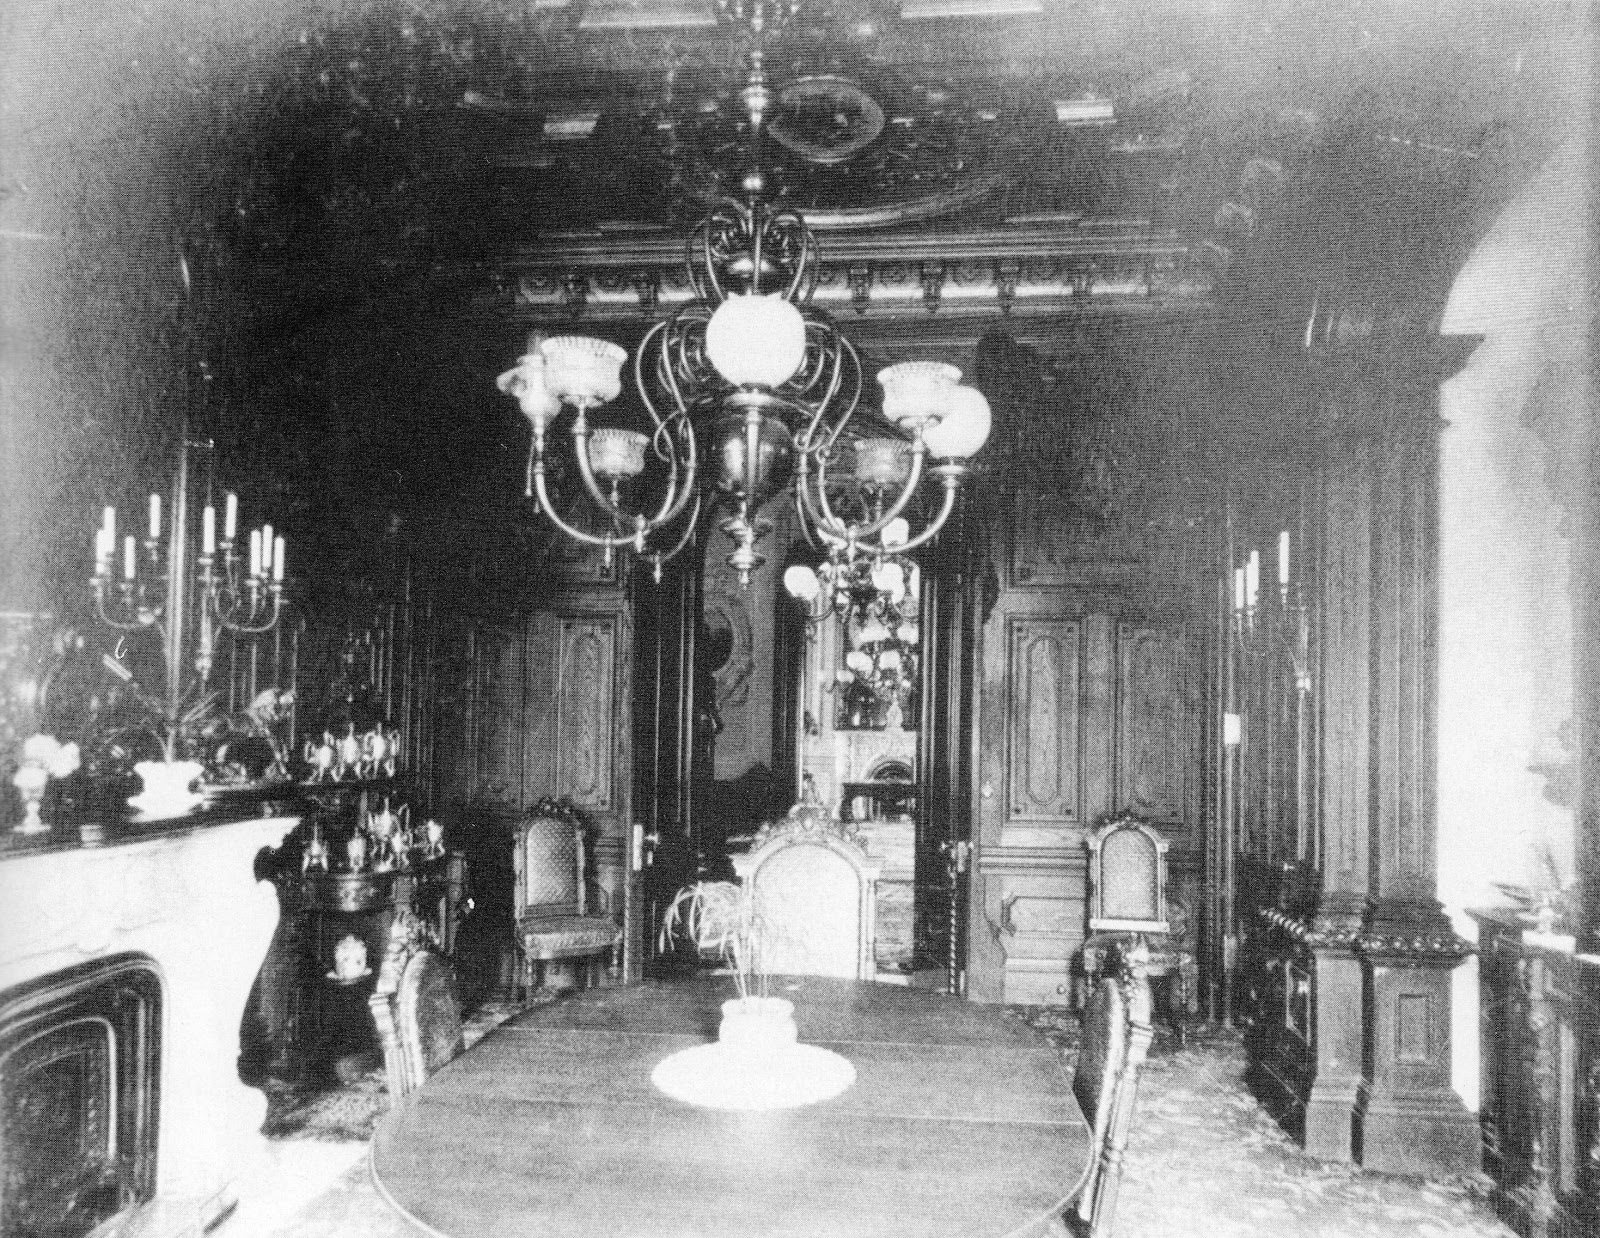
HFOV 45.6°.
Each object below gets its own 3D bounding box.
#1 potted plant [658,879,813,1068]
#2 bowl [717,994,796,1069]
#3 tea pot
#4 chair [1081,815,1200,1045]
[{"bbox_3d":[-0.206,1.200,6.159,0.330,0.590,0.365,-1,-1,-25],"label":"potted plant"},{"bbox_3d":[-0.133,1.297,6.047,0.179,0.140,0.182,-1,1,0],"label":"bowl"},{"bbox_3d":[-1.877,0.811,8.425,0.449,0.725,1.263,0,11,2],"label":"tea pot"},{"bbox_3d":[1.444,1.549,9.080,0.510,1.092,0.588,3,-23,-22],"label":"chair"}]
